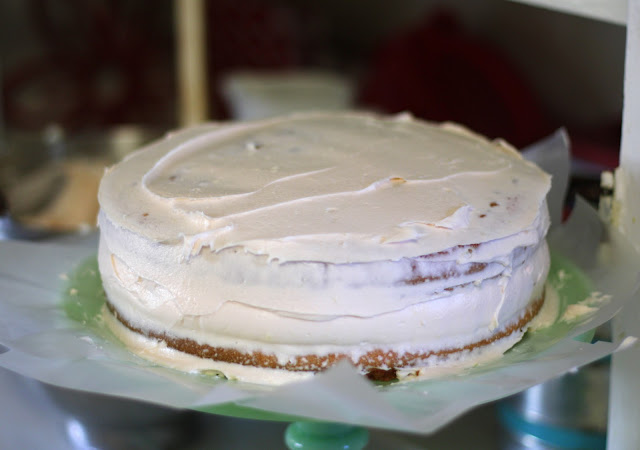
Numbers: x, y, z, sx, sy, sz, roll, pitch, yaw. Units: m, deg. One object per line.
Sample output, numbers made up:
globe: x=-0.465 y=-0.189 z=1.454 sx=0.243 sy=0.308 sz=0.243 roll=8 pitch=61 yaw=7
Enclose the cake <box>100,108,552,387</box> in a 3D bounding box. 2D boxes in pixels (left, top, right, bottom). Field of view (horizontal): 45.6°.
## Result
cake: x=0.005 y=0.013 z=1.181 sx=0.704 sy=0.216 sz=0.492 roll=3 pitch=38 yaw=-1
